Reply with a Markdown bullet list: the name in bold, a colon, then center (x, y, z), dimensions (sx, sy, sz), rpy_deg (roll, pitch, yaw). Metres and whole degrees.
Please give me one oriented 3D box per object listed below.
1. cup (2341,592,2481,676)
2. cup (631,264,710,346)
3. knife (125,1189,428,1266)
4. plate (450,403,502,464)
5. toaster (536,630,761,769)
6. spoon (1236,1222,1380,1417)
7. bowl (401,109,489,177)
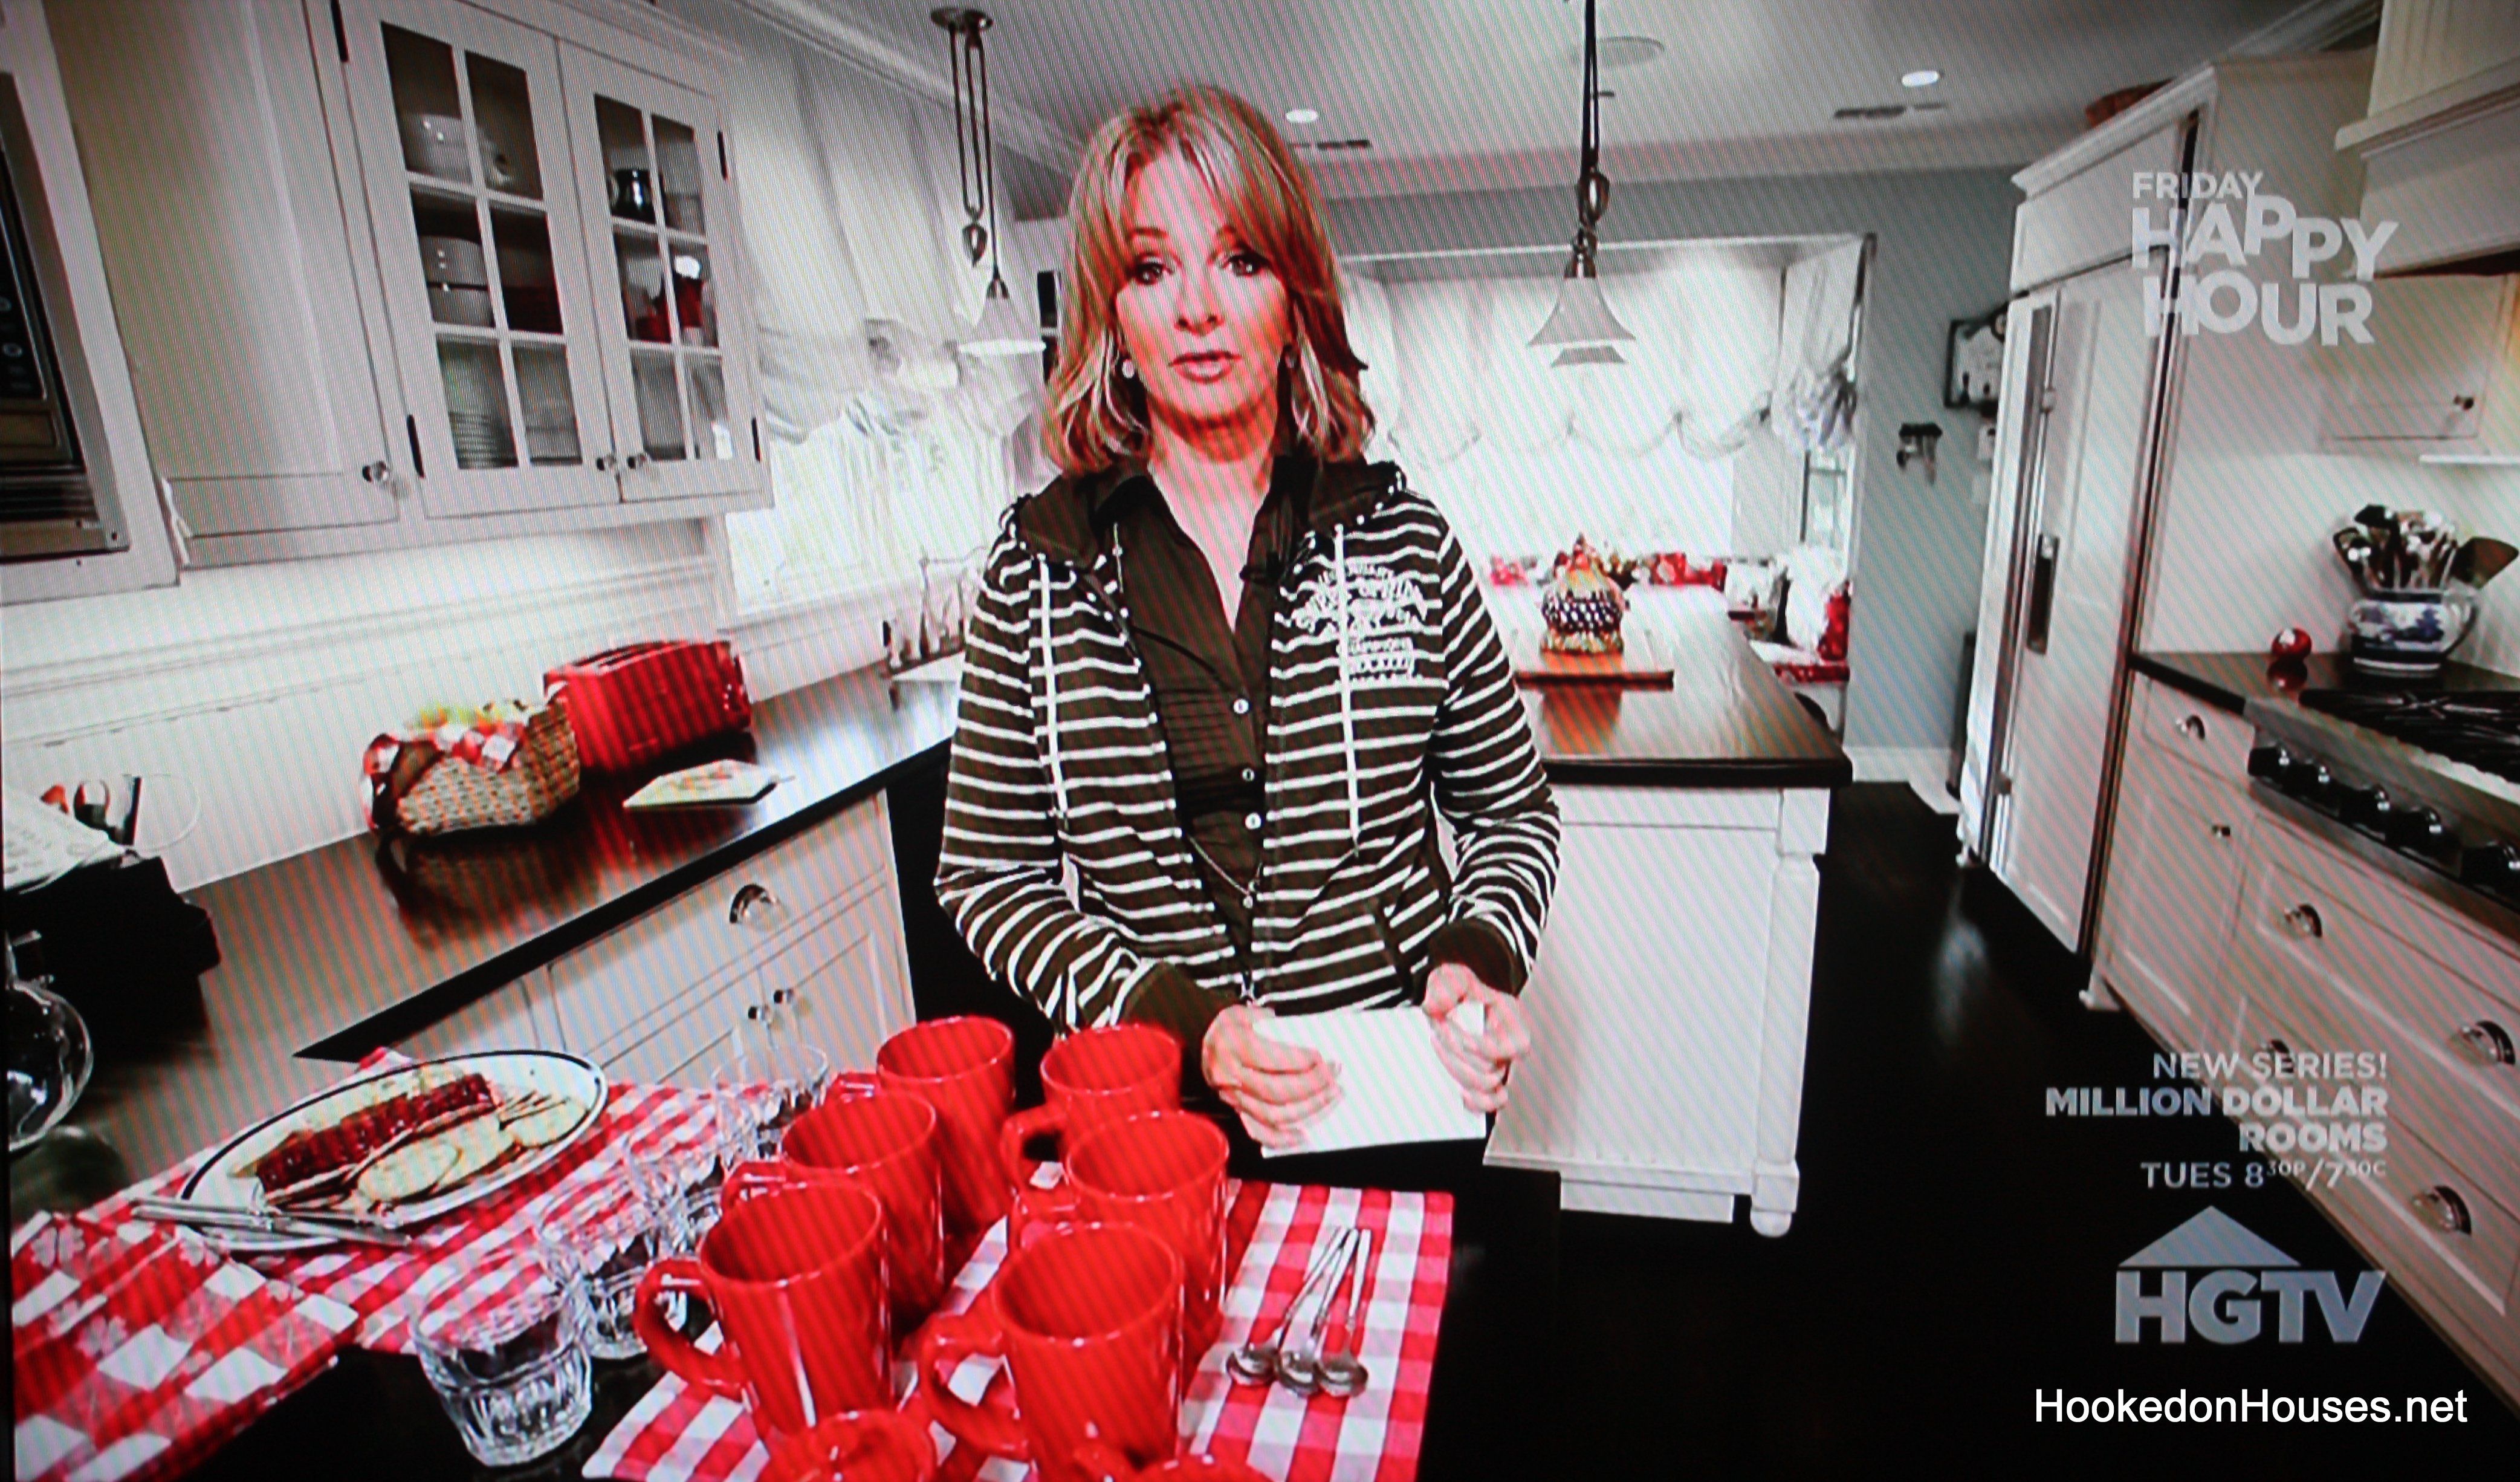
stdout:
- **cup**: center (2.722, -0.259, 3.382), dimensions (0.217, 0.142, 0.221), rpy_deg (0, -2, 0)
- **cup**: center (-1.316, -0.978, 3.195), dimensions (0.101, 0.183, 0.076), rpy_deg (3, 43, -19)
- **knife**: center (-1.310, 0.643, 1.896), dimensions (0.363, 0.068, 0.041), rpy_deg (0, 17, 3)
- **plate**: center (-1.558, -0.617, 2.869), dimensions (0.114, 0.123, 0.046), rpy_deg (-16, 22, -41)
- **toaster**: center (-1.398, -0.120, 3.288), dimensions (0.380, 0.256, 0.210), rpy_deg (-23, 35, -36)
- **spoon**: center (0.075, 0.736, 1.827), dimensions (0.114, 0.032, 0.201), rpy_deg (10, 41, 10)
- **bowl**: center (-1.592, -1.174, 2.796), dimensions (0.138, 0.118, 0.052), rpy_deg (-10, 19, -28)
